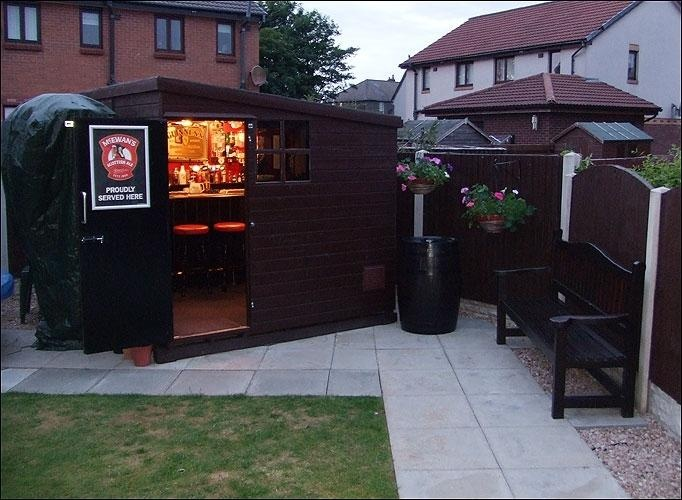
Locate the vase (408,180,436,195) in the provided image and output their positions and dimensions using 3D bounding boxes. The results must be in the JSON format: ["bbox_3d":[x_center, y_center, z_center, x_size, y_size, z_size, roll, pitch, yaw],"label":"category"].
[{"bbox_3d":[1.254,-0.969,8.309,0.262,0.141,0.263,1,5,18],"label":"vase"}]

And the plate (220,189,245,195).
[{"bbox_3d":[-1.930,-1.005,9.401,0.417,0.088,0.551,-2,10,-14],"label":"plate"}]

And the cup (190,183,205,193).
[{"bbox_3d":[-2.421,-1.037,9.015,0.245,0.166,0.149,-8,13,-41],"label":"cup"}]

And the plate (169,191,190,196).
[{"bbox_3d":[-2.709,-0.941,9.002,0.317,0.084,0.498,-3,10,-17],"label":"plate"}]

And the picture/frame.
[{"bbox_3d":[-2.449,-0.945,5.863,0.933,1.243,0.056,-4,13,-30],"label":"picture/frame"}]

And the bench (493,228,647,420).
[{"bbox_3d":[2.390,0.730,6.001,0.930,1.456,2.413,-2,9,7],"label":"bench"}]

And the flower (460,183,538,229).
[{"bbox_3d":[2.348,-0.617,7.992,1.017,0.711,0.835,3,10,19],"label":"flower"}]

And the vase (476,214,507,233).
[{"bbox_3d":[2.170,-0.367,7.801,0.282,0.166,0.278,0,-1,-6],"label":"vase"}]

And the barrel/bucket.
[{"bbox_3d":[1.246,0.476,7.725,0.954,1.273,0.935,-1,12,0],"label":"barrel/bucket"}]

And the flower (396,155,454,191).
[{"bbox_3d":[1.253,-1.205,8.493,0.883,0.597,0.792,0,10,-3],"label":"flower"}]

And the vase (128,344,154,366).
[{"bbox_3d":[-2.426,1.280,6.441,0.258,0.232,0.291,0,-3,6],"label":"vase"}]
